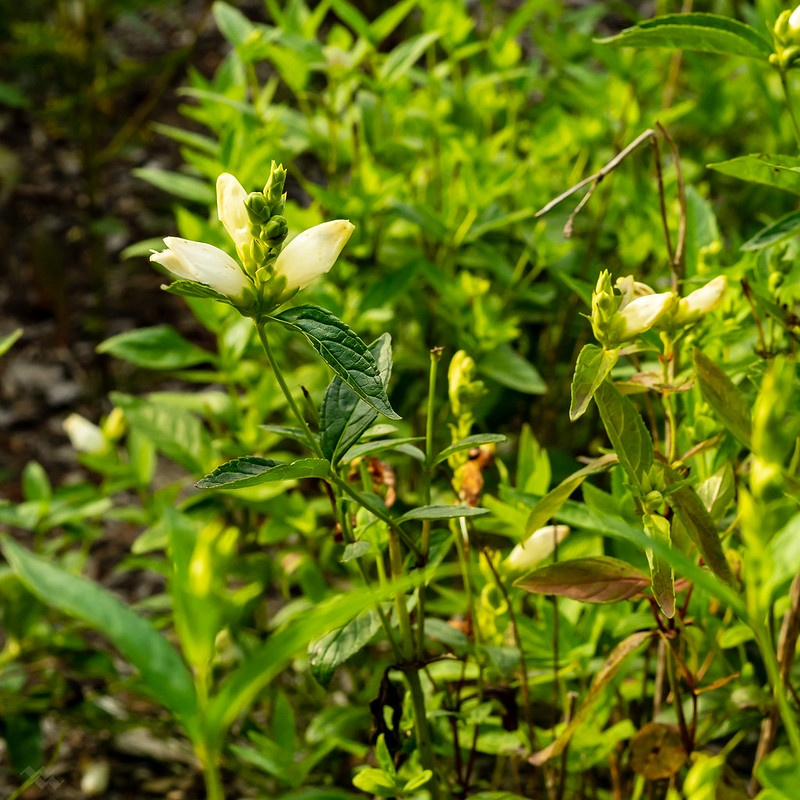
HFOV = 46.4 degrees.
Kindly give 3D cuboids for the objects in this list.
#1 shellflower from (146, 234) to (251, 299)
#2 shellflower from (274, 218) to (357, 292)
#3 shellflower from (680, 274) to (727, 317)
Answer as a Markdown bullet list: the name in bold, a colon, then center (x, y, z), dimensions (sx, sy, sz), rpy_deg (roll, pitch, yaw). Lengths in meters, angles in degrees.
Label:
- **shellflower**: center (-0.192, -0.131, 0.904), dimensions (0.130, 0.038, 0.040), rpy_deg (9, 22, 27)
- **shellflower**: center (-0.090, -0.150, 0.940), dimensions (0.101, 0.049, 0.045), rpy_deg (-31, 66, -21)
- **shellflower**: center (0.322, -0.109, 0.980), dimensions (0.054, 0.018, 0.035), rpy_deg (-41, 77, 14)
